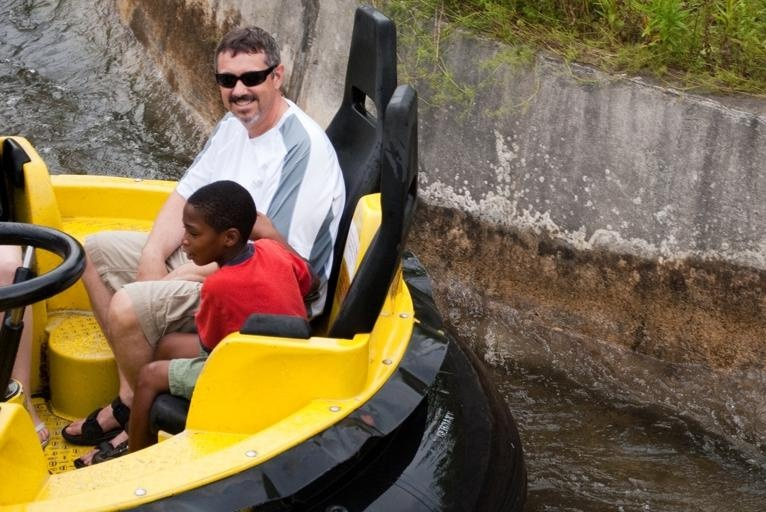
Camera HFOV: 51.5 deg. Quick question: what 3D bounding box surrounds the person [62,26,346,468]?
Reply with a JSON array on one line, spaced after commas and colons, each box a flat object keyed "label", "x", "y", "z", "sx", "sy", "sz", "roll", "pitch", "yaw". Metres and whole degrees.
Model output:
[{"label": "person", "x": -0.649, "y": 0.262, "z": 3.116, "sx": 0.826, "sy": 1.064, "sz": 0.600, "roll": -5, "pitch": 19, "yaw": -31}]
